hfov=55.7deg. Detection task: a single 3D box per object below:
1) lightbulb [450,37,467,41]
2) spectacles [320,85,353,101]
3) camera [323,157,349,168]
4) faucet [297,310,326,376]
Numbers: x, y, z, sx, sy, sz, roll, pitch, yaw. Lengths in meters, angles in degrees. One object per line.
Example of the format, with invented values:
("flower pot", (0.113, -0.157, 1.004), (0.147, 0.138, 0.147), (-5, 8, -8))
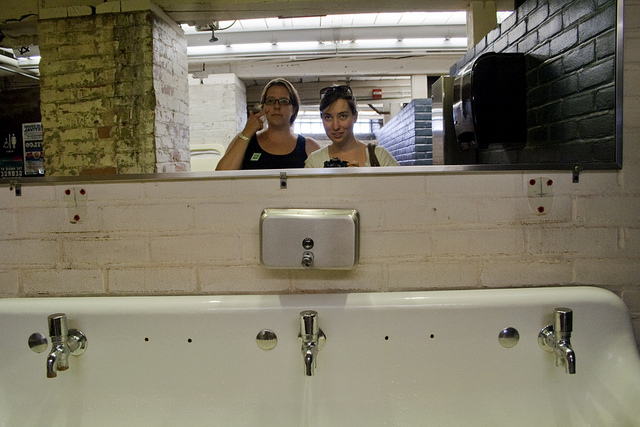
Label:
("lightbulb", (1.077, -1.389, 4.756), (0.130, 0.019, 0.054), (0, 5, 1))
("spectacles", (0.065, -0.526, 2.588), (0.132, 0.072, 0.076), (0, 5, 0))
("camera", (0.065, -0.223, 2.570), (0.104, 0.043, 0.045), (0, 5, -2))
("faucet", (-0.034, 0.532, 2.423), (0.115, 0.279, 0.145), (0, 5, -1))
